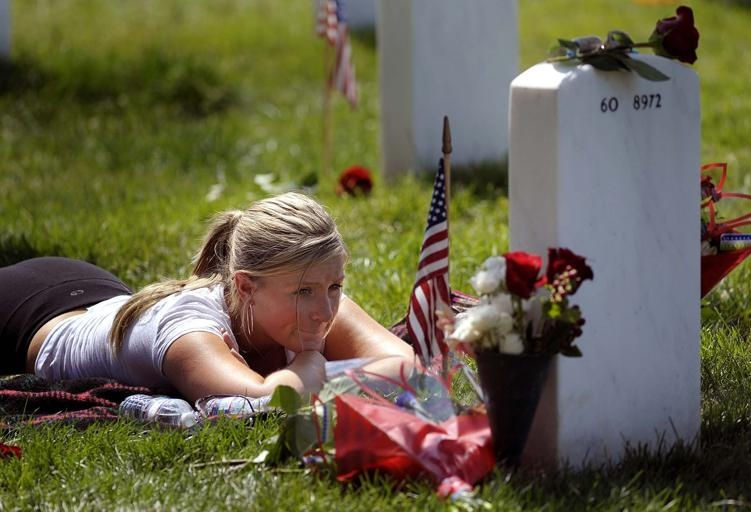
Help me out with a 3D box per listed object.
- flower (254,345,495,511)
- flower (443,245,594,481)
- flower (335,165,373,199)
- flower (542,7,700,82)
[{"bbox_3d":[0.059,0.809,4.573,0.686,0.357,0.728,-21,16,-9],"label":"flower"},{"bbox_3d":[0.657,0.470,4.502,0.658,1.004,0.220,-3,7,-23],"label":"flower"},{"bbox_3d":[-0.178,-0.627,8.367,0.270,0.267,0.229,2,-11,-30],"label":"flower"},{"bbox_3d":[1.198,-1.030,4.761,0.752,0.373,0.219,-2,7,-18],"label":"flower"}]
